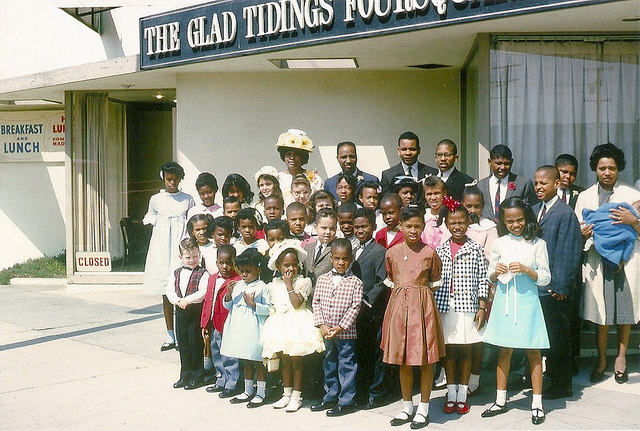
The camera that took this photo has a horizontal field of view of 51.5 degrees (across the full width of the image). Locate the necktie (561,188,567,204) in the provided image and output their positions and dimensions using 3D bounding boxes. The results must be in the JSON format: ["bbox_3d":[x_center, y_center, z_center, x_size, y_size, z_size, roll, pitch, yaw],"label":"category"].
[{"bbox_3d":[2.918,-0.253,7.902,0.050,0.163,0.109,2,4,20],"label":"necktie"}]

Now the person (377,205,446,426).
[{"bbox_3d":[0.941,1.146,6.696,0.633,1.833,0.487,1,4,8],"label":"person"}]

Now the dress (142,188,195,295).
[{"bbox_3d":[-2.085,0.361,9.152,0.675,1.434,0.402,0,4,-13],"label":"dress"}]

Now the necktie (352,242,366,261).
[{"bbox_3d":[0.403,0.356,7.079,0.158,0.164,0.089,-2,4,-32],"label":"necktie"}]

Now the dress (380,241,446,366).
[{"bbox_3d":[0.941,0.856,6.658,0.618,1.184,0.431,1,4,6],"label":"dress"}]

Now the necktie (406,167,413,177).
[{"bbox_3d":[1.121,-0.556,8.263,0.071,0.116,0.047,1,4,3],"label":"necktie"}]

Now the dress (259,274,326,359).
[{"bbox_3d":[-0.282,1.059,6.955,0.706,0.803,0.349,1,4,7],"label":"dress"}]

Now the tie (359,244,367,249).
[{"bbox_3d":[0.462,0.323,7.096,0.051,0.049,0.016,-6,-29,21],"label":"tie"}]

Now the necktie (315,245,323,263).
[{"bbox_3d":[-0.013,0.403,7.151,0.080,0.161,0.049,0,4,-14],"label":"necktie"}]

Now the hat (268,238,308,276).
[{"bbox_3d":[-0.340,0.419,7.064,0.419,0.351,0.300,0,4,-3],"label":"hat"}]

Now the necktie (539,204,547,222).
[{"bbox_3d":[2.470,-0.036,7.334,0.035,0.304,0.034,24,-33,14],"label":"necktie"}]

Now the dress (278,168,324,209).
[{"bbox_3d":[-0.252,-0.335,8.356,0.534,0.486,0.262,-2,-41,-7],"label":"dress"}]

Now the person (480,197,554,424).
[{"bbox_3d":[2.052,0.909,6.915,0.690,2.199,0.824,2,4,18],"label":"person"}]

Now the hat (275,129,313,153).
[{"bbox_3d":[-0.354,-1.048,9.176,0.463,0.293,0.223,0,4,-6],"label":"hat"}]

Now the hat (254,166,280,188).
[{"bbox_3d":[-0.695,-0.518,8.631,0.294,0.283,0.390,-1,1,27],"label":"hat"}]
